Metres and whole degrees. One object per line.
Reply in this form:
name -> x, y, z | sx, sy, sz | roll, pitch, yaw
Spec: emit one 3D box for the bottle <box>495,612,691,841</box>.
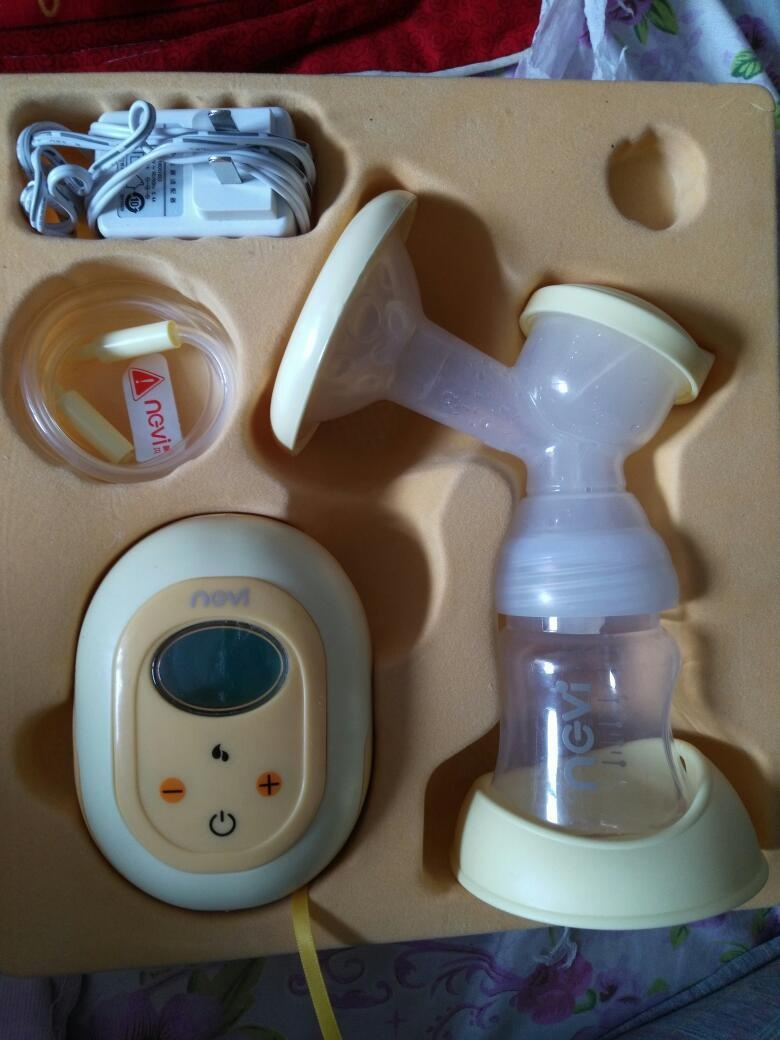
bottle -> 0.139, 0.143, 0.723 | 0.122, 0.090, 0.140 | 4, 70, -8
